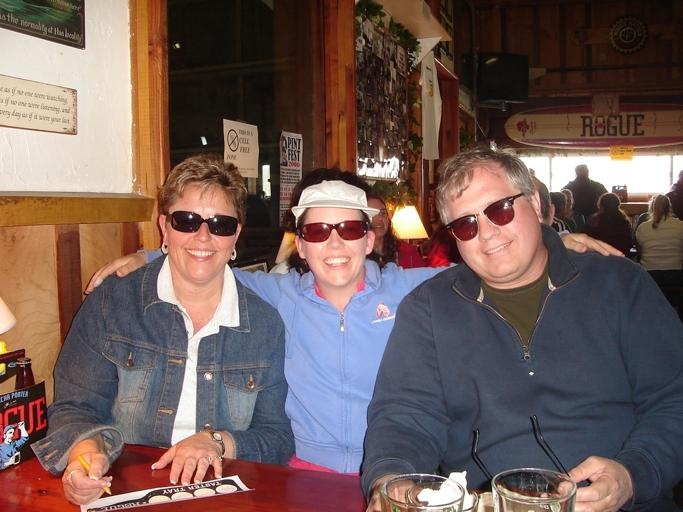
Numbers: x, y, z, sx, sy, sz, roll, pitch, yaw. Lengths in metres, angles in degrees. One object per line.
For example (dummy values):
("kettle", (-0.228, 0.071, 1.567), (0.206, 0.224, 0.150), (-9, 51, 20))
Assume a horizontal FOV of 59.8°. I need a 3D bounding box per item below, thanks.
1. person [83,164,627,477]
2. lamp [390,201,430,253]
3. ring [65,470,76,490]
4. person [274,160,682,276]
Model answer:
("person", (-0.014, 0.324, 2.703), (1.496, 1.122, 0.362), (-2, -13, 1))
("lamp", (0.664, -0.270, 5.894), (0.337, 0.271, 0.376), (-8, 12, 0))
("ring", (-0.962, 0.785, 2.114), (0.034, 0.037, 0.035), (-6, -21, -2))
("person", (0.296, -0.115, 4.211), (1.631, 0.644, 1.189), (5, -7, -36))
